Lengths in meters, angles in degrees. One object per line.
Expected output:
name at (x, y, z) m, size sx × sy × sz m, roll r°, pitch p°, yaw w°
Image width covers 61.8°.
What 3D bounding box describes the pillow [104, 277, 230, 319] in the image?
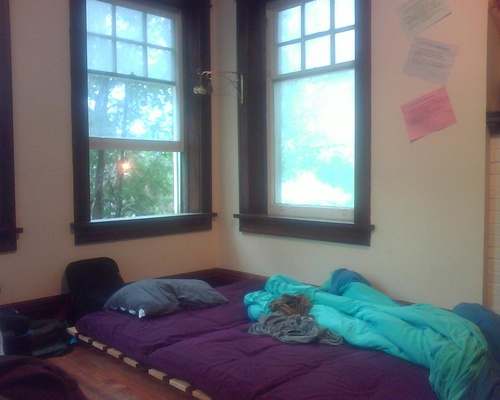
pillow at (-0.640, 0.755, 3.274) m, size 0.532 × 0.169 × 0.406 m, roll 2°, pitch -4°, yaw -39°
